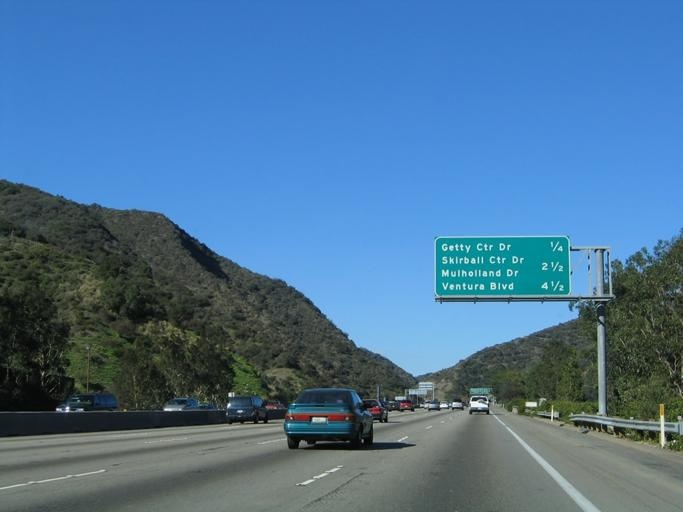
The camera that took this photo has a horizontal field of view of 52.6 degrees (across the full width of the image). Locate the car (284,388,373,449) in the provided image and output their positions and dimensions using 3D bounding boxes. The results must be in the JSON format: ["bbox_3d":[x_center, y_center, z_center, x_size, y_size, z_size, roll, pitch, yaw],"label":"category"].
[{"bbox_3d":[-0.253,5.512,23.633,1.690,1.327,2.996,-1,-6,10],"label":"car"}]

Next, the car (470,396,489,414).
[{"bbox_3d":[14.190,15.231,71.161,1.920,1.773,2.915,-2,-13,7],"label":"car"}]

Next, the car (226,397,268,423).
[{"bbox_3d":[-6.389,10.552,47.649,1.555,1.396,3.014,-1,-6,14],"label":"car"}]

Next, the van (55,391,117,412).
[{"bbox_3d":[-17.096,9.845,47.068,2.534,1.246,4.315,-8,-16,29],"label":"van"}]

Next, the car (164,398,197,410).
[{"bbox_3d":[-11.161,10.263,48.269,2.203,1.011,6.875,3,-14,-12],"label":"car"}]
